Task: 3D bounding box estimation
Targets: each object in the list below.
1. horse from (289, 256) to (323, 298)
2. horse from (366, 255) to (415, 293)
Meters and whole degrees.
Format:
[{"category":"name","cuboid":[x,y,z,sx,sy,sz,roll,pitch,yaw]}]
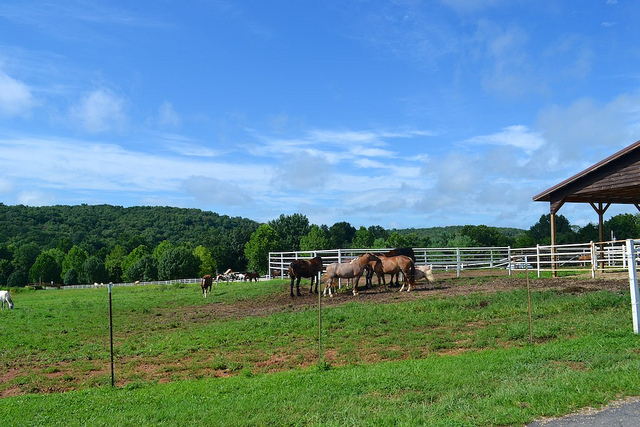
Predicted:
[{"category":"horse","cuboid":[-0.744,3.523,28.302,0.820,2.226,3.308,-7,-7,38]},{"category":"horse","cuboid":[3.569,3.108,25.997,2.923,1.876,0.819,-3,-6,18]}]
